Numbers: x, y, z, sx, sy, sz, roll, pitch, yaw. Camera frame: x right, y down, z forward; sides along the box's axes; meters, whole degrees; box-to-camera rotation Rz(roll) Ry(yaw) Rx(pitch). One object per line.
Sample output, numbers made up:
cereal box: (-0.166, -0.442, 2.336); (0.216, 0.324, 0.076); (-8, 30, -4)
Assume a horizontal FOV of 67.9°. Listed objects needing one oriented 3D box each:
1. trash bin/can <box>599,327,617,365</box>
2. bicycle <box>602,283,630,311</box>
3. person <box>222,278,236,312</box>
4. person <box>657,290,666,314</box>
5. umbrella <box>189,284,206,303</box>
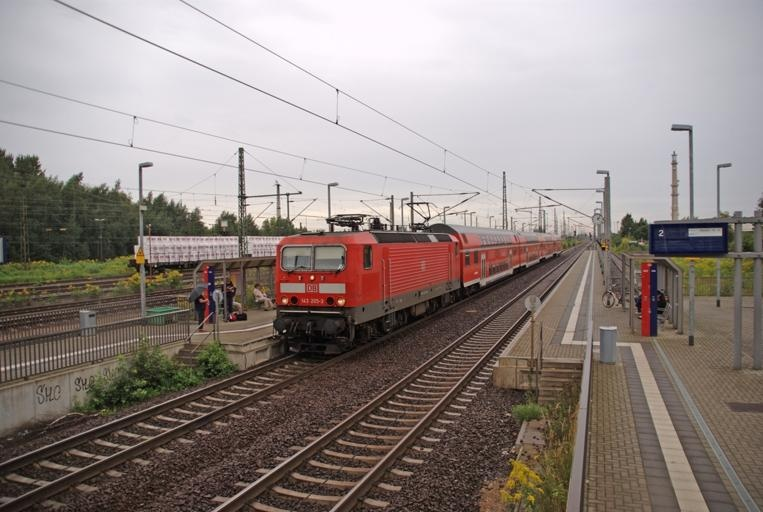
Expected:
trash bin/can: (6.867, 2.709, 17.129); (0.479, 1.054, 0.282); (-1, 1, 5)
bicycle: (11.513, 2.048, 27.911); (0.869, 1.126, 1.855); (-6, -5, 22)
person: (-6.485, 1.731, 24.108); (0.414, 1.353, 1.203); (-1, 0, -15)
person: (10.856, 1.814, 21.856); (0.308, 0.801, 0.745); (-1, 0, 28)
umbrella: (-7.149, 1.481, 22.018); (0.636, 0.663, 0.750); (-1, 0, -23)
